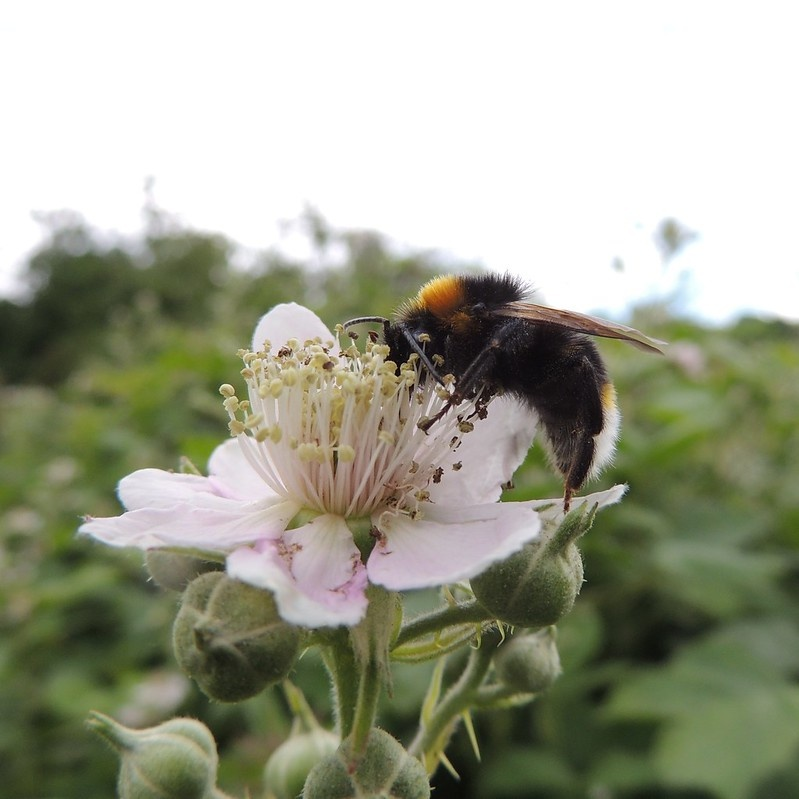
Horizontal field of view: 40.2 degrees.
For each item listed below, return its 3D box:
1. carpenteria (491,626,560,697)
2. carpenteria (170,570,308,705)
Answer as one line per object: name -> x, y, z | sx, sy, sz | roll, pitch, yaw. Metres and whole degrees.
carpenteria -> 0.331, 0.678, 2.833 | 0.176, 0.162, 0.127 | -9, 8, -2
carpenteria -> -0.314, 0.579, 2.647 | 0.387, 0.290, 0.456 | -8, -16, 24
